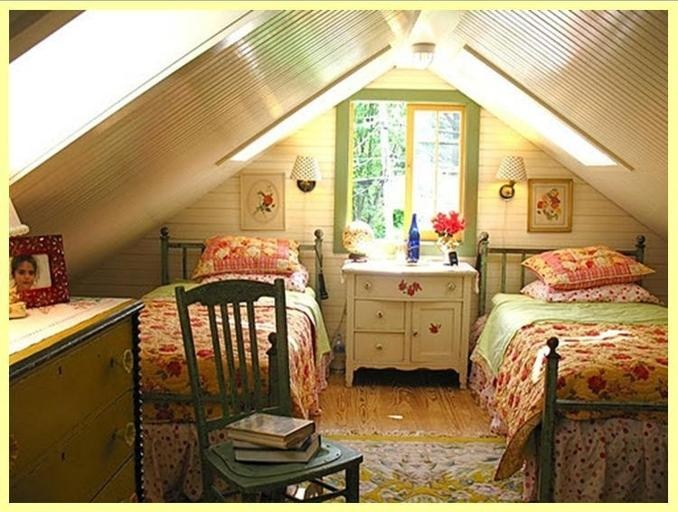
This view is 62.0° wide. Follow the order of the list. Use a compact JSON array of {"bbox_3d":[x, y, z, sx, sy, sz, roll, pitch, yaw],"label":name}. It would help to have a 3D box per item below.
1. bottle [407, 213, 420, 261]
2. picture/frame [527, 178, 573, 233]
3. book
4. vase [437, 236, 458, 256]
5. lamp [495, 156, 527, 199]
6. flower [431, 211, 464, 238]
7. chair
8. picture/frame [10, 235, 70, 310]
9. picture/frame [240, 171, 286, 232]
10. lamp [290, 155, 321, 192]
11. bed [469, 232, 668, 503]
[{"bbox_3d":[0.586,-0.149,4.408,0.089,0.359,0.273,3,10,7],"label":"bottle"},{"bbox_3d":[1.712,-0.435,4.561,0.473,0.509,0.039,1,2,0],"label":"picture/frame"},{"bbox_3d":[-0.229,0.632,1.983,0.221,0.072,0.177,-1,-1,17],"label":"book"},{"bbox_3d":[0.840,-0.078,4.406,0.161,0.135,0.133,0,7,4],"label":"vase"},{"bbox_3d":[1.363,-0.642,4.491,0.283,0.343,0.196,7,21,19],"label":"lamp"},{"bbox_3d":[0.851,-0.267,4.394,0.245,0.224,0.237,1,8,22],"label":"flower"},{"bbox_3d":[-0.332,0.644,2.344,0.626,1.120,1.074,-2,11,-15],"label":"chair"},{"bbox_3d":[-1.078,0.061,2.022,0.021,0.200,0.240,-8,-20,27],"label":"picture/frame"},{"bbox_3d":[-0.612,-0.469,4.560,0.498,0.553,0.039,0,2,-3],"label":"picture/frame"},{"bbox_3d":[-0.216,-0.648,4.465,0.286,0.287,0.280,0,3,-1],"label":"lamp"},{"bbox_3d":[1.237,0.574,3.087,0.900,0.462,1.213,0,17,9],"label":"bed"}]
